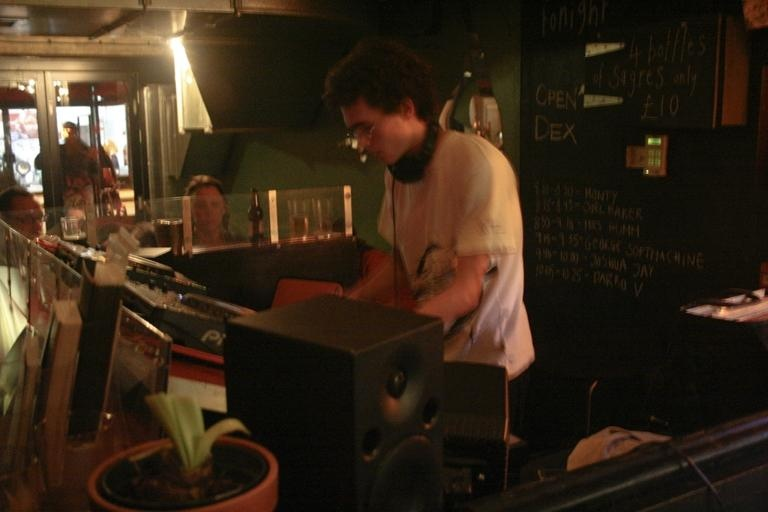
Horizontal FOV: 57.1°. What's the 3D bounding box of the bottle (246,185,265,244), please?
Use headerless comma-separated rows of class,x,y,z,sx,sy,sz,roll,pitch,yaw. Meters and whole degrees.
bottle,-0.731,-0.224,4.048,0.085,0.302,0.088,0,6,0

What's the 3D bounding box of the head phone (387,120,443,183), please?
head phone,0.125,-0.526,3.354,0.125,0.272,0.229,26,-15,5

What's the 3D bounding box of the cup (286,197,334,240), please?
cup,-0.447,-0.223,4.151,0.258,0.194,0.099,-2,-1,-37

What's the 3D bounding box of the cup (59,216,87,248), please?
cup,-1.856,-0.163,4.257,0.199,0.180,0.152,1,1,-11

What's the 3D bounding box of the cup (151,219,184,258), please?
cup,-1.193,-0.108,3.921,0.101,0.189,0.230,-5,7,-37
